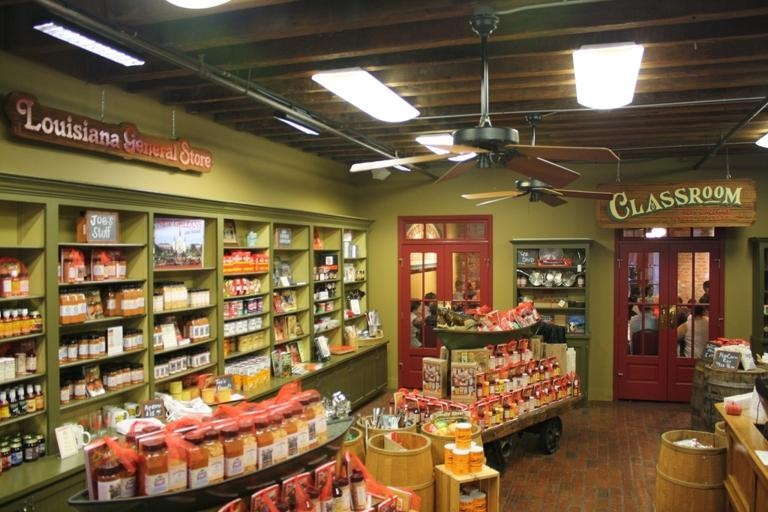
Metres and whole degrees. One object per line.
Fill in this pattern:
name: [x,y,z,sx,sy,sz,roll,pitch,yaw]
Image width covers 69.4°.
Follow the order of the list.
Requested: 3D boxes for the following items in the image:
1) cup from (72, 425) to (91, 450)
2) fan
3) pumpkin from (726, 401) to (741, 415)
cup: [-2.833,1.654,5.205,0.153,0.216,0.290,0,-2,-28]
fan: [1.157,-1.514,5.149,2.216,1.174,2.050,2,-2,4]
pumpkin: [3.340,1.452,5.319,0.119,0.103,0.115,-5,-1,-15]
